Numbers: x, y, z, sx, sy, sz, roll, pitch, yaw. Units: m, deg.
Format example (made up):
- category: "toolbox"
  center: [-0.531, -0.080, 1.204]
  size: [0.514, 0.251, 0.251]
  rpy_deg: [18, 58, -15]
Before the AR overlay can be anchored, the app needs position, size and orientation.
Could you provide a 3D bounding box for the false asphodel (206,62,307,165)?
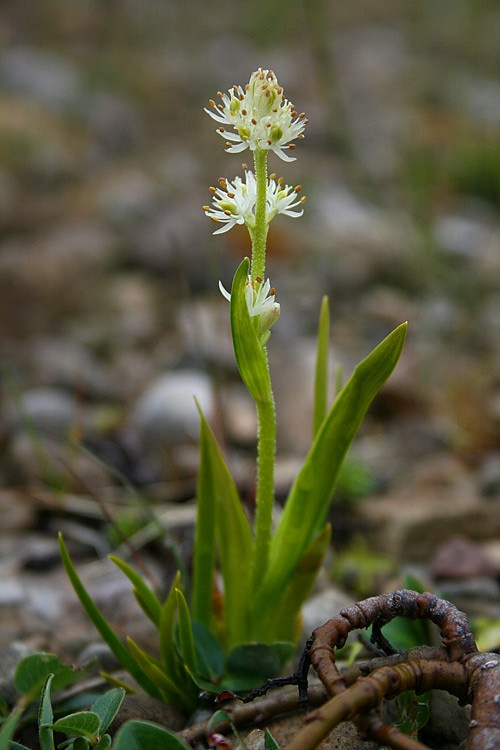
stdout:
- category: "false asphodel"
  center: [0.001, -0.219, 0.693]
  size: [0.073, 0.072, 0.144]
  rpy_deg: [-4, 17, -7]
